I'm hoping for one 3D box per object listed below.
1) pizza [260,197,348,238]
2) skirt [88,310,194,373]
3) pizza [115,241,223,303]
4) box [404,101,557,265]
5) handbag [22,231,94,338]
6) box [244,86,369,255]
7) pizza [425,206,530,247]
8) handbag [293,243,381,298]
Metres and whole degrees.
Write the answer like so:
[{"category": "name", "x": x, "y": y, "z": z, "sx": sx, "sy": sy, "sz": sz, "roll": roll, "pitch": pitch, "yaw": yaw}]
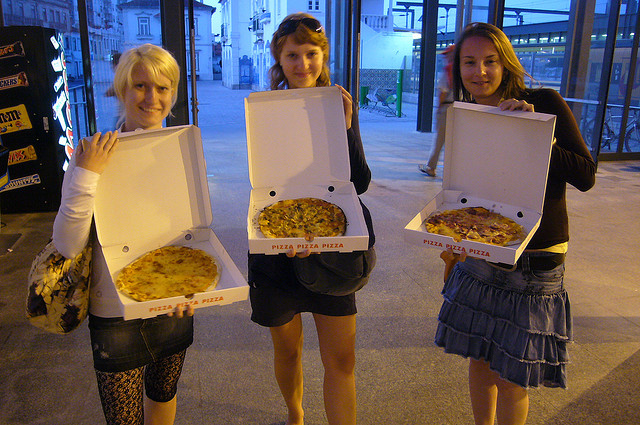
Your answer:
[{"category": "pizza", "x": -0.081, "y": 0.026, "z": 2.303, "sx": 0.300, "sy": 0.029, "sz": 0.228, "roll": -5, "pitch": 38, "yaw": -7}, {"category": "skirt", "x": -0.859, "y": 0.587, "z": 2.160, "sx": 0.466, "sy": 0.268, "sz": 0.199, "roll": -8, "pitch": 22, "yaw": -22}, {"category": "pizza", "x": -0.711, "y": 0.263, "z": 2.109, "sx": 0.483, "sy": 0.126, "sz": 0.355, "roll": -5, "pitch": 21, "yaw": -14}, {"category": "box", "x": 0.834, "y": -0.211, "z": 2.239, "sx": 0.565, "sy": 0.635, "sz": 0.359, "roll": 12, "pitch": 24, "yaw": 28}, {"category": "handbag", "x": -1.210, "y": 0.334, "z": 2.075, "sx": 0.320, "sy": 0.431, "sz": 0.194, "roll": -6, "pitch": 22, "yaw": -16}, {"category": "box", "x": -0.118, "y": -0.220, "z": 2.290, "sx": 0.611, "sy": 0.497, "sz": 0.763, "roll": -9, "pitch": 53, "yaw": -6}, {"category": "pizza", "x": 0.814, "y": 0.053, "z": 2.310, "sx": 0.501, "sy": 0.081, "sz": 0.331, "roll": 7, "pitch": 21, "yaw": 18}, {"category": "handbag", "x": 0.061, "y": 0.341, "z": 2.543, "sx": 0.455, "sy": 0.253, "sz": 0.586, "roll": 0, "pitch": -1, "yaw": 9}]
